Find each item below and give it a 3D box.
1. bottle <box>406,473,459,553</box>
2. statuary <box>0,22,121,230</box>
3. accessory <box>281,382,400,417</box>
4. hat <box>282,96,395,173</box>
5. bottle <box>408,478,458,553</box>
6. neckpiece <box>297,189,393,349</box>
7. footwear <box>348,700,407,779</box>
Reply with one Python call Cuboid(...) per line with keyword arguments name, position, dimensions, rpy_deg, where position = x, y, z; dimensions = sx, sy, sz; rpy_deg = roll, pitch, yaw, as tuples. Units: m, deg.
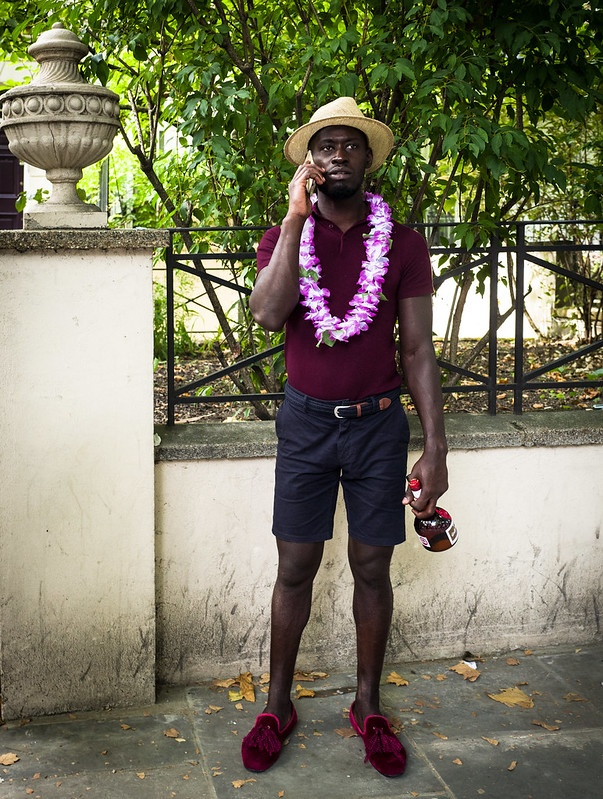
Cuboid(name="bottle", position=(0.405, 0.359, 2.715), dimensions=(0.132, 0.247, 0.116), rpy_deg=(-21, 26, -6))
Cuboid(name="statuary", position=(-0.846, -0.973, 2.987), dimensions=(0.407, 0.743, 0.383), rpy_deg=(1, 11, 1))
Cuboid(name="accessory", position=(0.112, 0.006, 2.684), dimensions=(0.379, 0.091, 0.155), rpy_deg=(1, 10, 3))
Cuboid(name="hat", position=(0.137, -0.864, 2.731), dimensions=(0.371, 0.200, 0.338), rpy_deg=(-2, 10, -16))
Cuboid(name="bottle", position=(0.398, 0.350, 2.708), dimensions=(0.139, 0.279, 0.124), rpy_deg=(8, 45, 32))
Cuboid(name="neckpiece", position=(0.142, -0.386, 2.573), dimensions=(0.289, 0.396, 0.092), rpy_deg=(1, 2, -2))
Cuboid(name="footwear", position=(0.239, 1.086, 2.790), dimensions=(0.128, 0.096, 0.309), rpy_deg=(-16, 21, -13))
